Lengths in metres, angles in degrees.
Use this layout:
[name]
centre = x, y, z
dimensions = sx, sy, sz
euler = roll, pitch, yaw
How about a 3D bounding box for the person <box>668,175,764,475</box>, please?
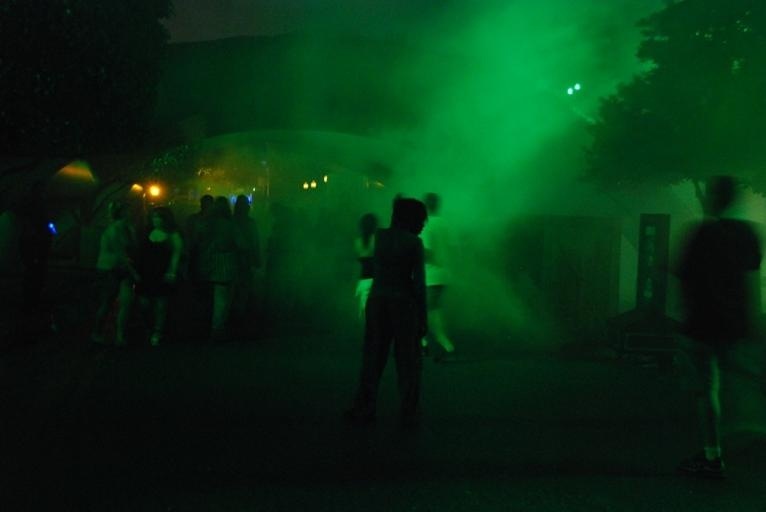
[person]
centre = 3.588, 0.955, 7.976
dimensions = 0.860, 2.752, 0.398
euler = 3, -4, 21
